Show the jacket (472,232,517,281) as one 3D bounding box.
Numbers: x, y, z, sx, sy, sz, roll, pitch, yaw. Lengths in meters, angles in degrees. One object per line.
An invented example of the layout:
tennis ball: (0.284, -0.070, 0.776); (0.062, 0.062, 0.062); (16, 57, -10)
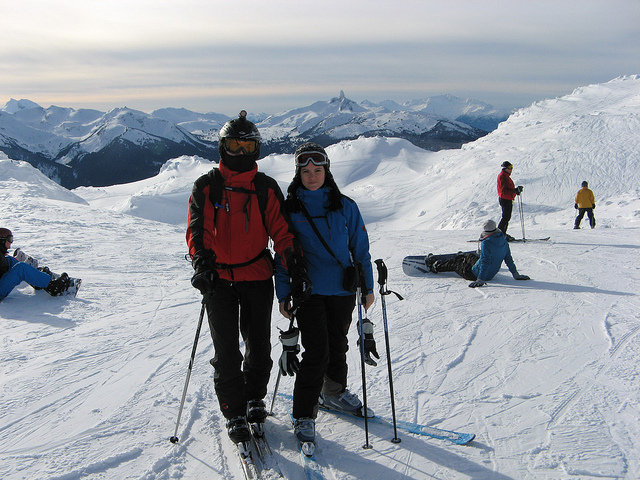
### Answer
jacket: (3.776, 0.247, 12.712); (0.746, 0.721, 1.167); (-9, 28, -5)

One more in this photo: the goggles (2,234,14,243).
goggles: (-6.330, -0.056, 12.020); (0.165, 0.102, 0.111); (0, 4, -13)

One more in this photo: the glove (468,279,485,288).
glove: (3.327, 0.907, 12.589); (0.269, 0.070, 0.164); (-24, 15, -27)

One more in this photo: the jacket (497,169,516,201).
jacket: (5.397, -1.608, 17.149); (0.489, 0.876, 0.403); (5, 20, 29)

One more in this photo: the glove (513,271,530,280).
glove: (4.403, 0.756, 12.851); (0.417, 0.123, 0.181); (2, 57, 28)

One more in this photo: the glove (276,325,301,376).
glove: (-0.424, 1.448, 7.748); (0.331, 0.583, 0.279); (1, -9, -34)

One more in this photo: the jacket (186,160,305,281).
jacket: (-0.954, -0.266, 7.632); (1.790, 1.535, 1.632); (1, -1, 25)

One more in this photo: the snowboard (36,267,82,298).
snowboard: (-5.470, 0.857, 12.552); (0.755, 0.642, 0.581); (-11, 18, -23)

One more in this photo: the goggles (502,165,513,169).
goggles: (5.400, -2.147, 17.057); (0.272, 0.125, 0.182); (1, 4, 10)

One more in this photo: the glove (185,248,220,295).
glove: (-1.438, 0.378, 7.399); (0.508, 0.511, 0.274); (0, 2, 32)

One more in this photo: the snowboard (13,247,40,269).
snowboard: (-6.524, 0.394, 13.180); (0.618, 0.254, 0.263); (31, -7, 8)
